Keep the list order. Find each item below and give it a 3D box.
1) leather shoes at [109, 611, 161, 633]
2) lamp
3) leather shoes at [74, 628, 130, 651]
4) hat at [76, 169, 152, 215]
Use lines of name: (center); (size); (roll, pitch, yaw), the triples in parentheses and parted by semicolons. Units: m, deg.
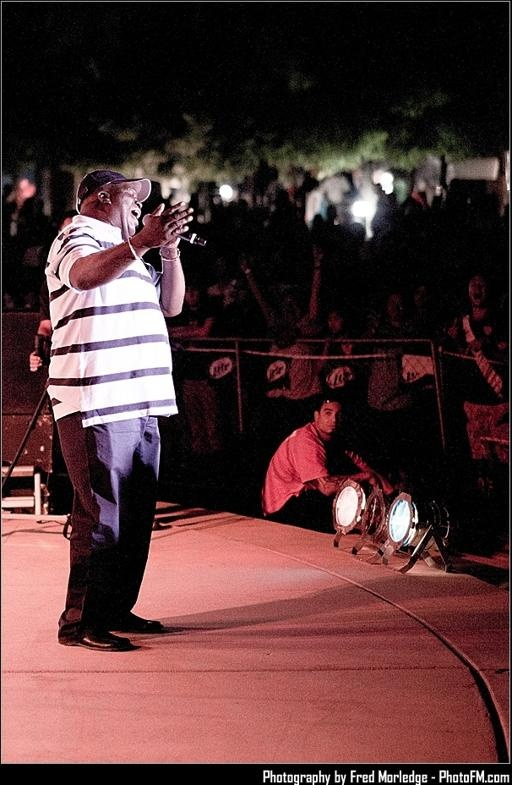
leather shoes: (-0.461, 0.896, 3.441); (0.226, 0.091, 0.076); (-3, -9, 4)
lamp: (0.725, 0.735, 4.799); (0.363, 0.405, 0.707); (-2, 2, -33)
leather shoes: (-0.571, 0.923, 3.266); (0.207, 0.086, 0.074); (-6, -15, 20)
hat: (-0.565, -0.820, 3.495); (0.260, 0.131, 0.172); (-15, 4, -13)
